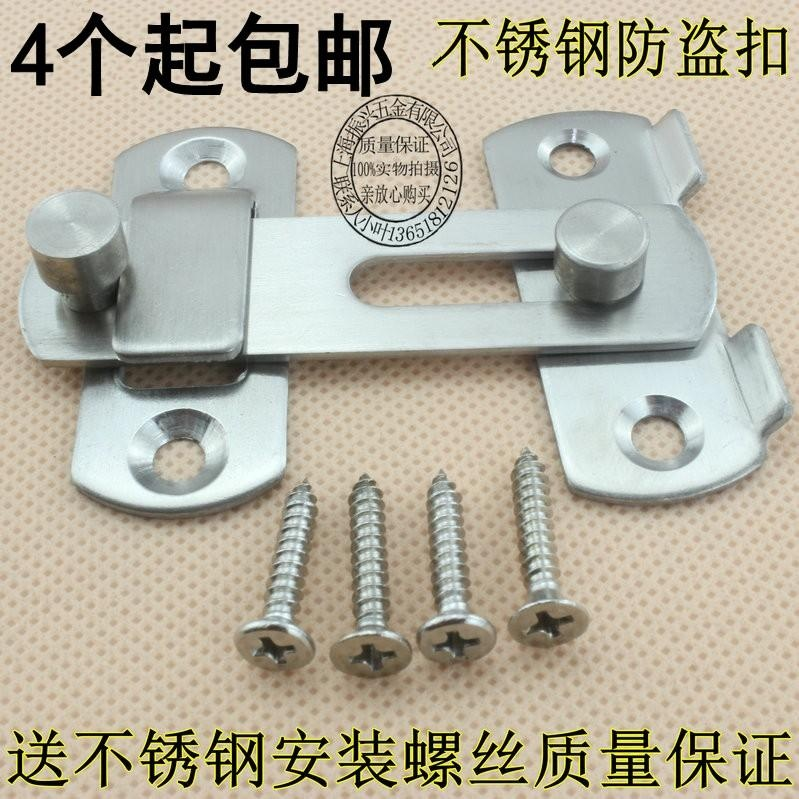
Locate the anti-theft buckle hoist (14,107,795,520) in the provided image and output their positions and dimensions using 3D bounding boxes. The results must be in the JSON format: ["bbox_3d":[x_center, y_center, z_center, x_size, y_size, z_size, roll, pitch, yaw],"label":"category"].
[{"bbox_3d":[-0.014,-0.142,1.117,0.858,0.293,0.575,1,41,-4],"label":"anti-theft buckle hoist"}]
